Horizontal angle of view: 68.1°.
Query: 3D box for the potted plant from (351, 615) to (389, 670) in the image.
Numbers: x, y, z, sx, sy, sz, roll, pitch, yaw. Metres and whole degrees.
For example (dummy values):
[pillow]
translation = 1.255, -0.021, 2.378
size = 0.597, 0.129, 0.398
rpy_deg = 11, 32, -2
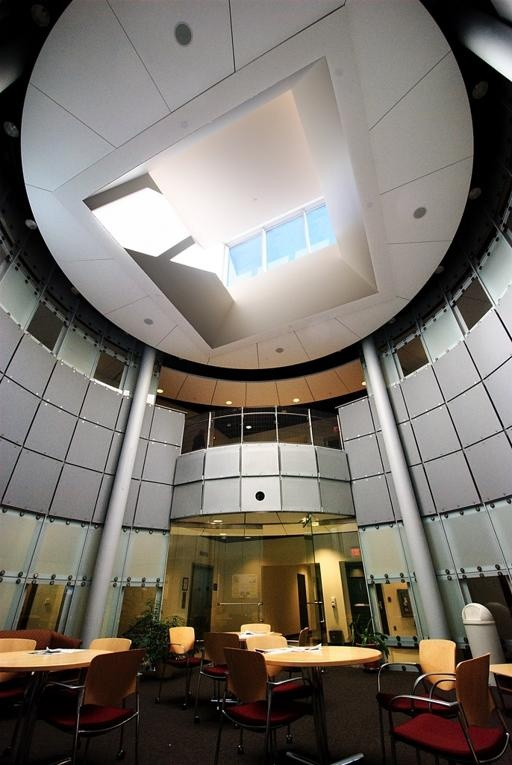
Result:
[potted plant]
translation = 2.165, 5.129, 7.404
size = 0.639, 0.925, 0.638
rpy_deg = 16, -31, -38
